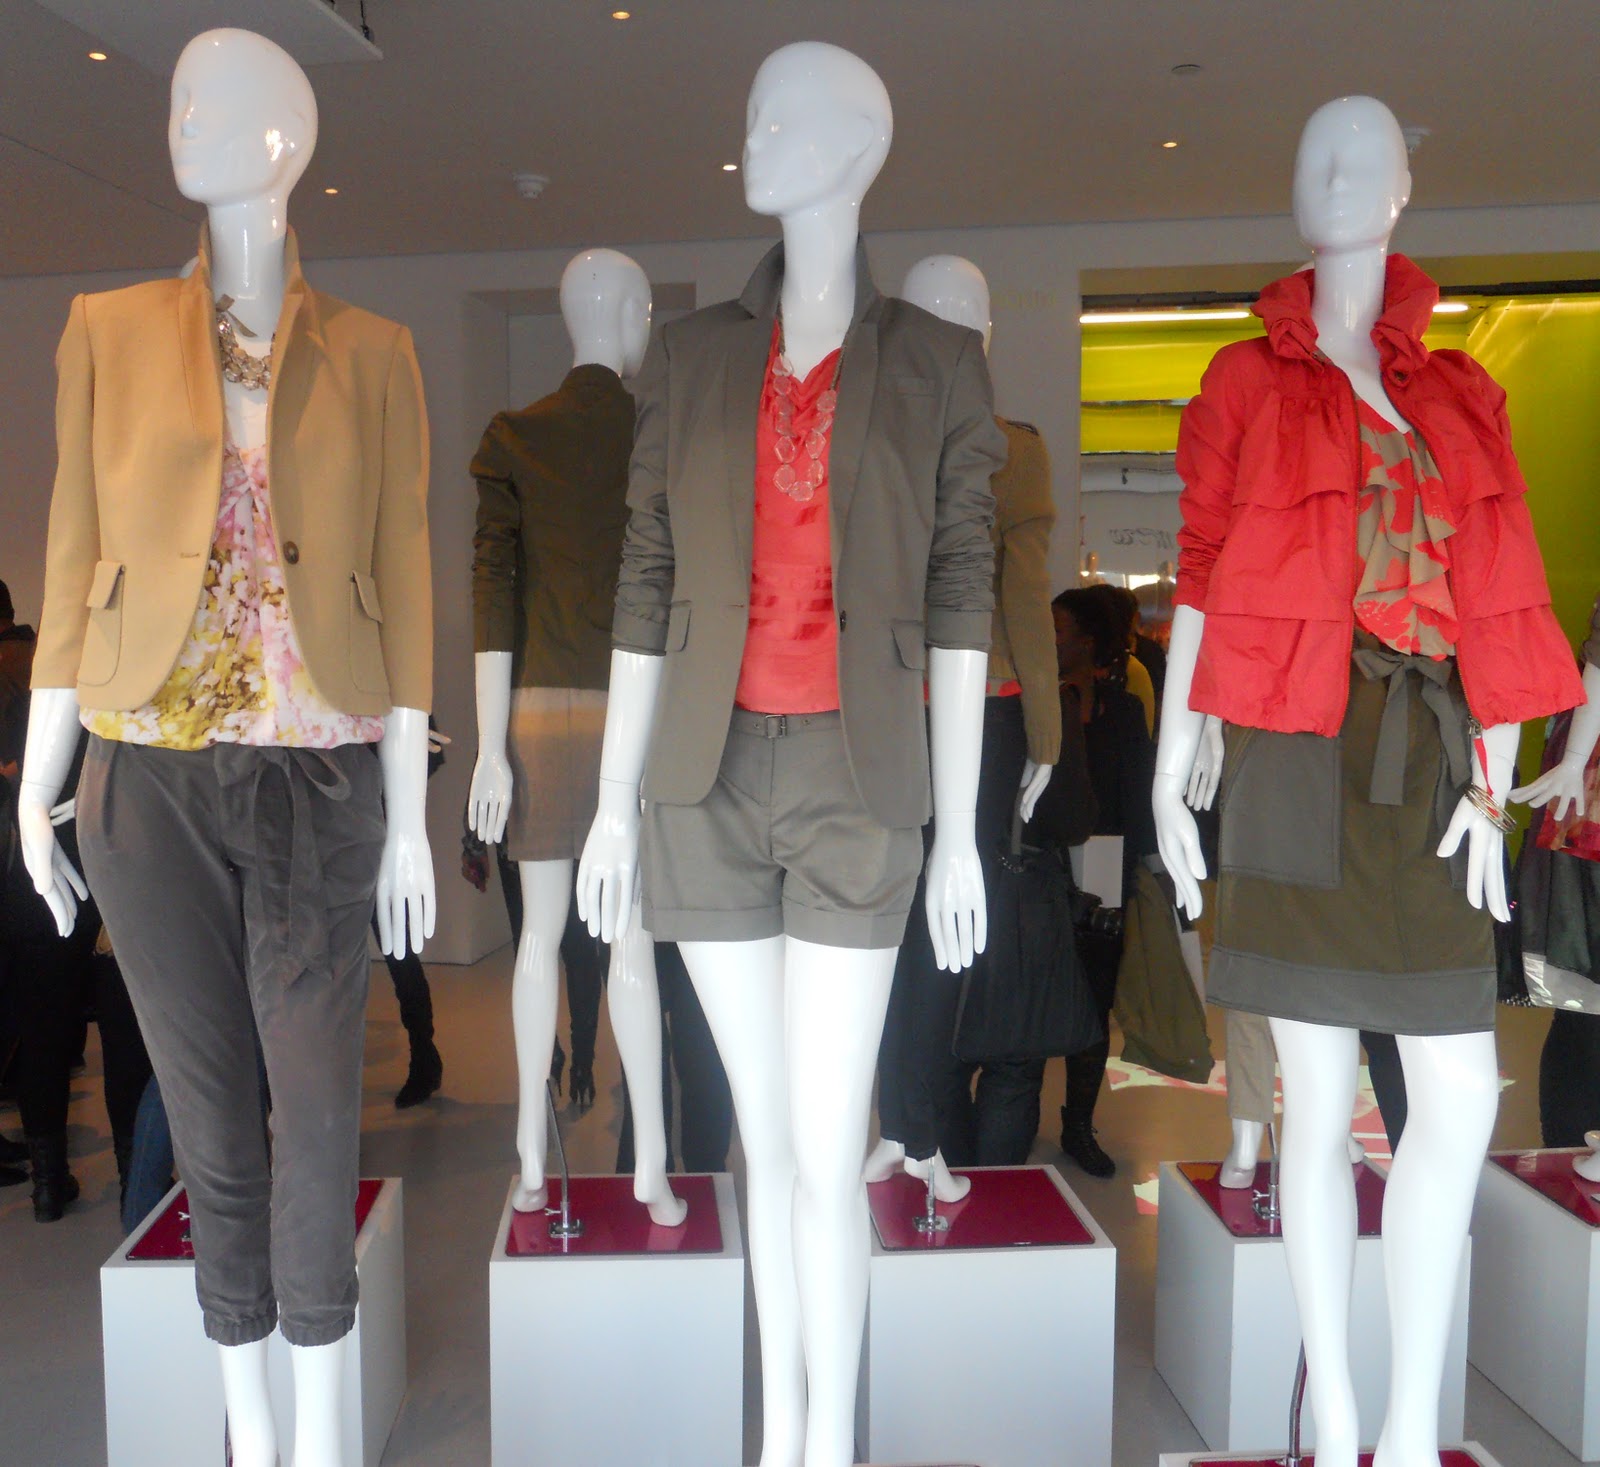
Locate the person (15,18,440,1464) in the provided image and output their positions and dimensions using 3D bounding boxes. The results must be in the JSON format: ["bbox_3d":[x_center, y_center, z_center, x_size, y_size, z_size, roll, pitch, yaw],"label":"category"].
[{"bbox_3d":[-0.779,0.064,1.980,0.534,1.984,0.278,0,2,-20],"label":"person"}]

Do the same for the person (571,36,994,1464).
[{"bbox_3d":[-0.021,0.058,1.976,0.564,1.931,0.218,1,1,8],"label":"person"}]
